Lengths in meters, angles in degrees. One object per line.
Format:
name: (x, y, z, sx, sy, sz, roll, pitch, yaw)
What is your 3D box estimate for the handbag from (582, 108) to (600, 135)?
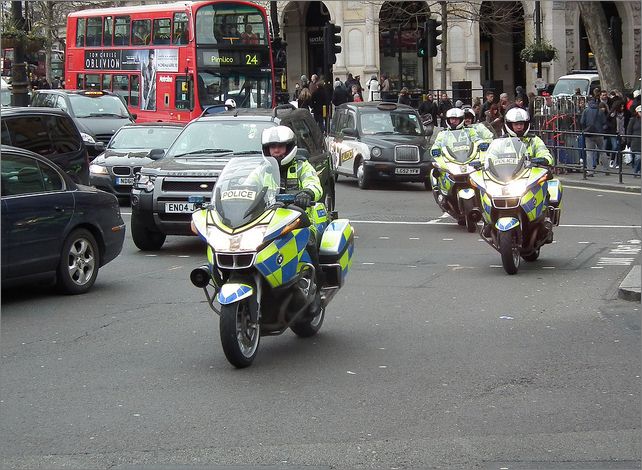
handbag: (8.698, -3.714, 21.724, 0.640, 0.751, 0.449, 3, 12, 21)

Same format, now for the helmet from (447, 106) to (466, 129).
helmet: (2.834, -2.480, 14.294, 0.318, 0.412, 0.469, 0, 5, 10)

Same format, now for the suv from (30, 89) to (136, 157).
suv: (-8.624, -4.095, 22.872, 2.559, 1.298, 1.263, 7, -3, 26)

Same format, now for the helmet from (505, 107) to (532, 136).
helmet: (3.069, -1.702, 10.509, 0.352, 0.495, 0.474, -3, -5, 20)

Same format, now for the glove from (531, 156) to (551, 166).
glove: (3.240, -1.087, 9.998, 0.193, 0.087, 0.145, 1, 5, -20)

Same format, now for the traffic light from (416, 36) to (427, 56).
traffic light: (4.409, -8.224, 29.259, 0.343, 0.809, 0.822, 1, 12, 10)

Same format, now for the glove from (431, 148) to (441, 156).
glove: (2.410, -1.738, 14.150, 0.240, 0.259, 0.142, -3, 4, 4)

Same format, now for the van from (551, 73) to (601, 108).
van: (12.629, -6.895, 33.568, 2.048, 2.100, 3.567, 9, 12, 34)

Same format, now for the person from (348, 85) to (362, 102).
person: (1.550, -6.502, 30.686, 0.526, 0.661, 1.596, -1, 12, 4)

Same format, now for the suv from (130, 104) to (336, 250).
suv: (-2.033, -1.246, 13.594, 2.564, 2.571, 4.838, 0, 7, -2)

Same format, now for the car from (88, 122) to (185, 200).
car: (-4.909, -2.015, 17.126, 1.474, 1.448, 3.419, 0, 3, -2)

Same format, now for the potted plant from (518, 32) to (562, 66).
potted plant: (11.209, -9.524, 34.862, 1.397, 1.164, 2.459, 0, 12, 9)

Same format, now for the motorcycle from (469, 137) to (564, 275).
motorcycle: (2.913, -0.425, 10.119, 1.372, 2.040, 0.778, -11, 14, -40)

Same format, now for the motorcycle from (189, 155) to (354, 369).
motorcycle: (-0.494, 0.267, 6.288, 0.810, 1.953, 1.692, 5, 13, 31)

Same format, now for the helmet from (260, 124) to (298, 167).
helmet: (-0.422, -0.879, 6.669, 0.323, 0.439, 0.428, -5, 10, 13)

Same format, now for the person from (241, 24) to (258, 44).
person: (-2.609, -7.349, 24.618, 0.732, 0.720, 0.187, -12, 15, -43)
